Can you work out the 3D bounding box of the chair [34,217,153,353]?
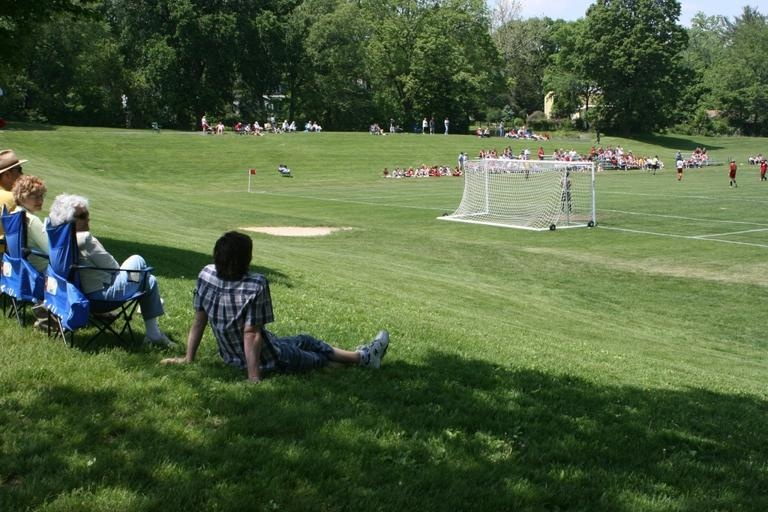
[{"bbox_3d":[-4.223,0.343,13.607,1.700,2.274,1.251,-7,19,-26],"label":"chair"}]
